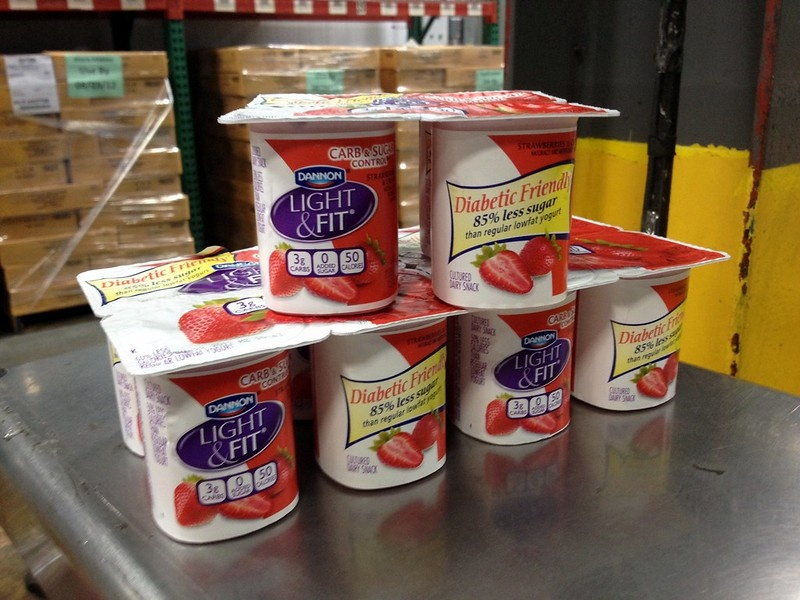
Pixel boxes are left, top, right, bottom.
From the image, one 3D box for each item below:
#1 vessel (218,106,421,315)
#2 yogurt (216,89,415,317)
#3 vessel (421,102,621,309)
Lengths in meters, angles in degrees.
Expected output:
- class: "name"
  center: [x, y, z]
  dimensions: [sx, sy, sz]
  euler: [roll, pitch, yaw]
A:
- class: "vessel"
  center: [-0.153, -0.126, 1.068]
  dimensions: [0.375, 0.280, 0.256]
  euler: [-12, 16, -39]
- class: "yogurt"
  center: [-0.094, -0.165, 1.133]
  dimensions: [0.431, 0.310, 0.308]
  euler: [-2, 16, -2]
- class: "vessel"
  center: [0.117, -0.141, 1.107]
  dimensions: [0.375, 0.273, 0.223]
  euler: [-9, 15, -31]
